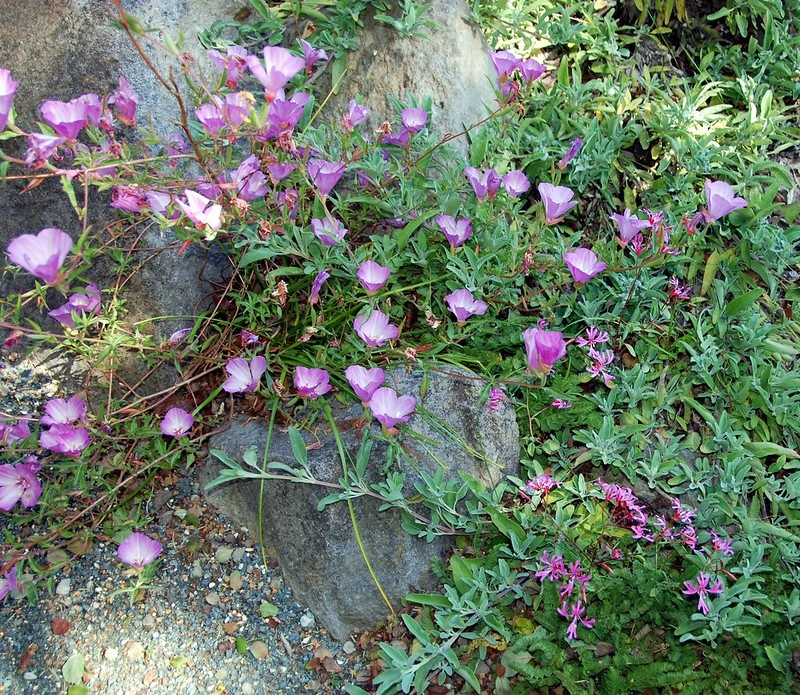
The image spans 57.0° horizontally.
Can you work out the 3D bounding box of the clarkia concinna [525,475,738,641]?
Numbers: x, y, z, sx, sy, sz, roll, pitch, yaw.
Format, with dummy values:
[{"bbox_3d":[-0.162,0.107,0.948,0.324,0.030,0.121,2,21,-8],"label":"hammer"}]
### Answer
[{"bbox_3d":[0.812,0.708,2.583,0.587,0.183,0.603,45,78,4],"label":"clarkia concinna"}]
